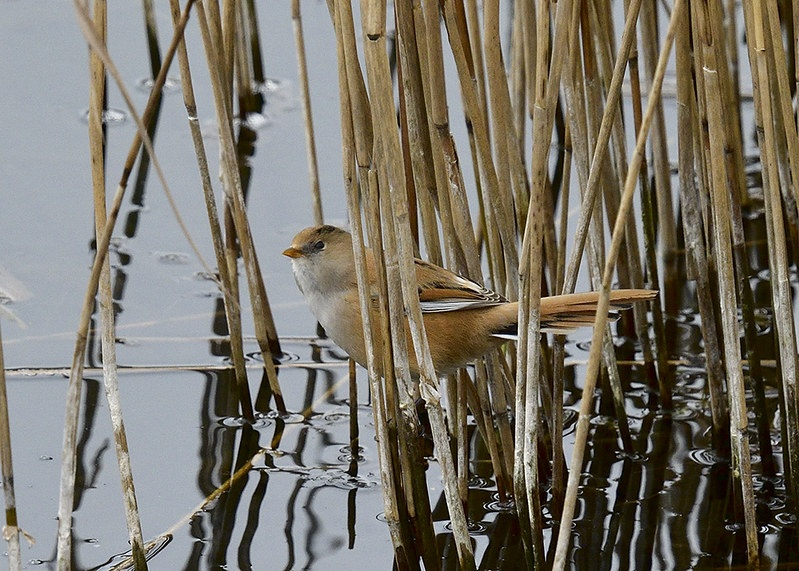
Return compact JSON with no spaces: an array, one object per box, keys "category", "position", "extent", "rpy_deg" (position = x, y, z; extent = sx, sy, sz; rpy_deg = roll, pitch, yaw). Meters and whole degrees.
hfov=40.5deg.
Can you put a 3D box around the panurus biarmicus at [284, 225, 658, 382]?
[{"category":"panurus biarmicus","position":[0.285,0.132,5.107],"extent":[1.731,0.743,0.511],"rpy_deg":[3,6,-3]}]
